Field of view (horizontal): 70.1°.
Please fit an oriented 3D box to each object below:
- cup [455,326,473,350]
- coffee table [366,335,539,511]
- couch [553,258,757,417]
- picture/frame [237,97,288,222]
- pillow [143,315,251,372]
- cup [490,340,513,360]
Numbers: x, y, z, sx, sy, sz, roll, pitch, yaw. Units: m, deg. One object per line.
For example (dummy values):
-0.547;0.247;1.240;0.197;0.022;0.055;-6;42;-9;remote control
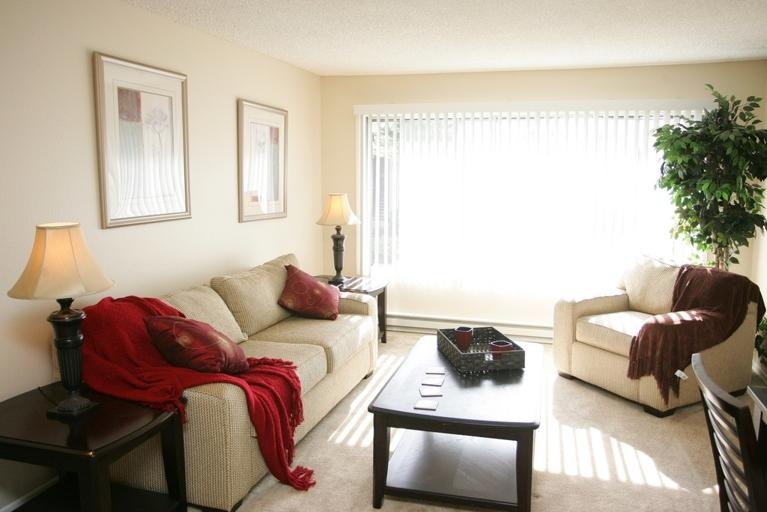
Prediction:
0.651;0.653;4.344;0.152;0.183;0.155;1;-3;0;cup
0.540;1.215;3.755;0.808;0.476;1.283;3;10;17;coffee table
2.407;0.649;4.922;1.464;1.066;1.427;-4;5;-33;couch
-1.235;-0.932;5.656;0.843;1.159;0.045;13;15;43;picture/frame
-1.285;0.624;3.787;0.614;0.436;0.283;0;9;7;pillow
0.915;0.718;4.218;0.129;0.108;0.140;0;5;0;cup
